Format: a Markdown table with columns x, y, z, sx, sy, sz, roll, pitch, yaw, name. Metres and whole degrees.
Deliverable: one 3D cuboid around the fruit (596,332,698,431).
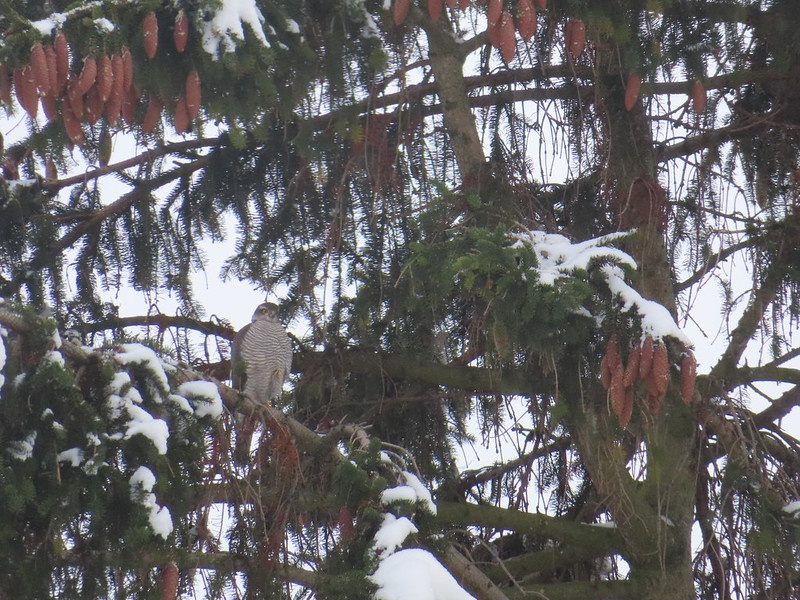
| x | y | z | sx | sy | sz | roll | pitch | yaw | name |
| --- | --- | --- | --- | --- | --- | --- | --- | --- | --- |
| 1.500 | 0.539 | 15.897 | 0.575 | 0.610 | 0.677 | -4 | -40 | 4 | fruit |
